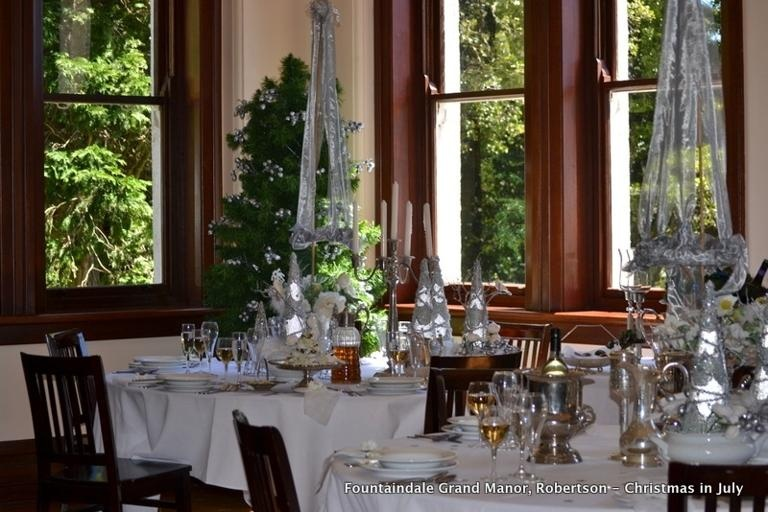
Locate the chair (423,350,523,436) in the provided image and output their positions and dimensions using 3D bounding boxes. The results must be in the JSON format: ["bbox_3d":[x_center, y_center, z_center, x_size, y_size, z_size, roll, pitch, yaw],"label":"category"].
[{"bbox_3d":[0.389,0.761,3.859,0.308,0.596,0.405,3,-13,-18],"label":"chair"}]

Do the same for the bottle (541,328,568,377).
[{"bbox_3d":[0.613,0.374,3.010,0.082,0.227,0.090,4,-22,1],"label":"bottle"}]

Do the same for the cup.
[{"bbox_3d":[0.612,0.572,3.041,0.213,0.322,0.227,0,-1,0],"label":"cup"}]

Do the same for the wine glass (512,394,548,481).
[{"bbox_3d":[0.476,0.595,2.813,0.099,0.288,0.151,-1,0,-15],"label":"wine glass"}]

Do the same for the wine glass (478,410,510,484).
[{"bbox_3d":[0.388,0.630,2.948,0.100,0.232,0.330,-1,0,8],"label":"wine glass"}]

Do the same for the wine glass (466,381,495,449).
[{"bbox_3d":[0.344,0.552,2.992,0.106,0.238,0.114,2,6,29],"label":"wine glass"}]

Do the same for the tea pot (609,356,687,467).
[{"bbox_3d":[0.933,0.537,2.932,0.221,0.377,0.157,3,16,17],"label":"tea pot"}]

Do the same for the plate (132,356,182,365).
[{"bbox_3d":[-1.231,0.577,4.606,0.128,0.031,0.125,-4,6,-43],"label":"plate"}]
